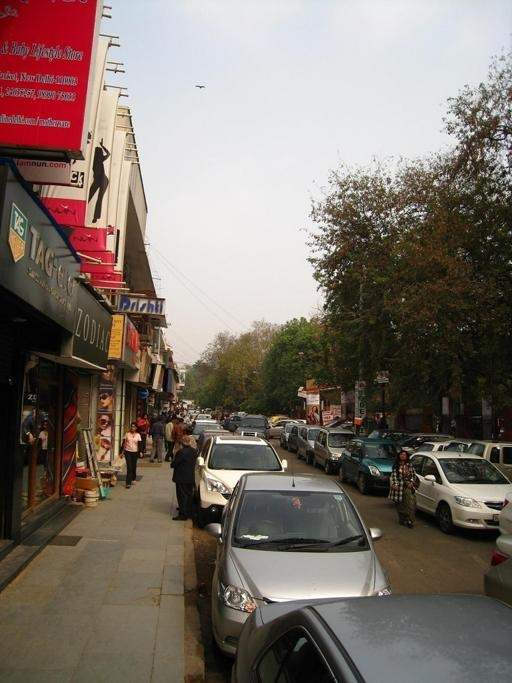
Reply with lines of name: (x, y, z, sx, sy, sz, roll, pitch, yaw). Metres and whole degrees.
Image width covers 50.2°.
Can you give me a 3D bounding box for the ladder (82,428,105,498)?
ladder: (-3.876, 2.922, 12.990, 0.519, 1.647, 1.444, 1, -8, -12)
